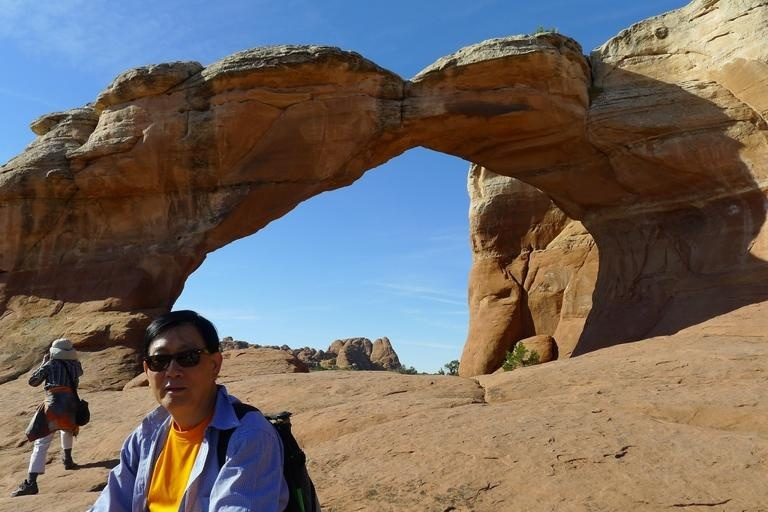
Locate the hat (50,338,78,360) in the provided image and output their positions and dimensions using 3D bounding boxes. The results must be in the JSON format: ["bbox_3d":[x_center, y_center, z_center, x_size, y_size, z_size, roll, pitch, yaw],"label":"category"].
[{"bbox_3d":[-6.053,1.691,10.924,0.434,0.169,0.566,2,3,-31],"label":"hat"}]

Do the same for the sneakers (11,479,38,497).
[{"bbox_3d":[-6.011,3.756,9.730,0.351,0.192,0.294,-12,9,-28],"label":"sneakers"}]
